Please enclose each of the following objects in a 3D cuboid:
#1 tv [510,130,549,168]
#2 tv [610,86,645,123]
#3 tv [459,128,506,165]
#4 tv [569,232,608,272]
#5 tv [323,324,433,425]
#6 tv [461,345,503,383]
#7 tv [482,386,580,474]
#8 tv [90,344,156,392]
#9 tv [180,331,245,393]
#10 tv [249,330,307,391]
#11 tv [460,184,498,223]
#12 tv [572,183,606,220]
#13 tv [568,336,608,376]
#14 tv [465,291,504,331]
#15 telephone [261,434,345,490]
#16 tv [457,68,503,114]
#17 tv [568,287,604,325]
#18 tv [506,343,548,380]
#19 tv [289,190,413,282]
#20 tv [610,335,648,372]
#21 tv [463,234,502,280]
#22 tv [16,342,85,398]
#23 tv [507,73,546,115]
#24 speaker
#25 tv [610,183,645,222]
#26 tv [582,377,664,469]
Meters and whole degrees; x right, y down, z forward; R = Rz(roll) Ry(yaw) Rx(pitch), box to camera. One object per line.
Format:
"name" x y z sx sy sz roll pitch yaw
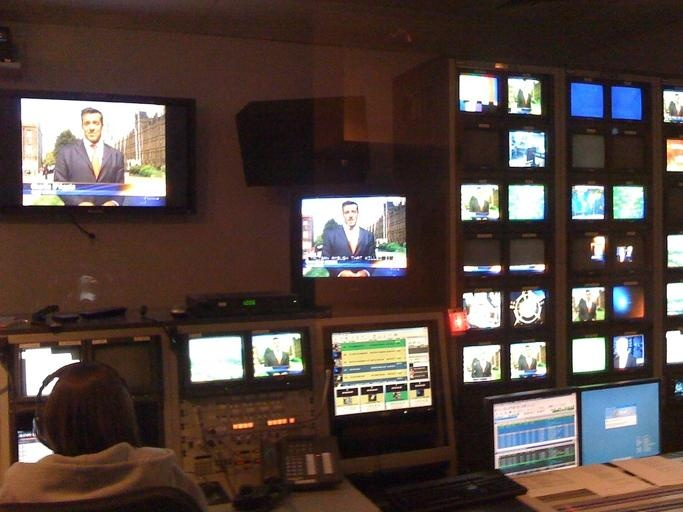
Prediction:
"tv" 1.087 -0.633 3.968 0.221 0.202 0.118 0 3 -12
"tv" 1.710 -0.911 4.051 0.204 0.193 0.107 1 5 14
"tv" 0.810 -0.626 3.926 0.227 0.209 0.054 0 6 -6
"tv" 1.479 -0.021 4.147 0.254 0.243 0.135 -1 2 -6
"tv" 0.145 0.504 2.991 0.440 0.346 0.047 -3 -2 -7
"tv" 0.803 0.619 3.930 0.222 0.188 0.029 0 -5 -14
"tv" 0.807 0.728 2.844 0.471 0.431 0.065 -4 1 -9
"tv" -0.865 0.428 2.791 0.287 0.261 0.181 -2 -8 -5
"tv" -0.534 0.447 2.885 0.274 0.225 0.142 0 -23 -19
"tv" -0.261 0.407 2.936 0.276 0.253 0.147 -3 7 5
"tv" 0.784 -0.312 3.915 0.230 0.198 0.081 0 0 -9
"tv" 1.527 -0.328 4.098 0.133 0.215 0.242 -4 5 -36
"tv" 1.473 0.577 4.129 0.239 0.221 0.129 -3 3 -10
"tv" 0.825 0.308 3.951 0.224 0.206 0.213 0 -3 3
"telephone" -0.164 0.838 2.775 0.314 0.191 0.123 -4 -1 -7
"tv" 0.773 -0.932 3.971 0.306 0.256 0.164 1 0 -15
"tv" 1.462 0.302 4.078 0.224 0.222 0.025 1 -2 -8
"tv" 1.087 0.615 4.075 0.264 0.236 0.144 0 1 -14
"tv" -0.056 -0.091 4.035 0.769 0.523 0.405 0 -9 -40
"tv" 1.721 0.576 4.076 0.220 0.226 0.024 0 1 3
"tv" 0.825 -0.003 4.023 0.279 0.261 0.166 0 2 2
"tv" -1.137 0.450 2.808 0.258 0.239 0.141 0 -8 5
"tv" 1.069 -0.948 3.956 0.249 0.225 0.128 0 1 -13
"speaker" -0.211 -0.662 3.935 0.901 0.482 0.575 -1 0 1
"tv" 1.706 -0.315 4.066 0.225 0.221 0.023 1 -3 -1
"tv" 1.204 0.716 2.913 0.359 0.333 0.035 -2 2 -12
